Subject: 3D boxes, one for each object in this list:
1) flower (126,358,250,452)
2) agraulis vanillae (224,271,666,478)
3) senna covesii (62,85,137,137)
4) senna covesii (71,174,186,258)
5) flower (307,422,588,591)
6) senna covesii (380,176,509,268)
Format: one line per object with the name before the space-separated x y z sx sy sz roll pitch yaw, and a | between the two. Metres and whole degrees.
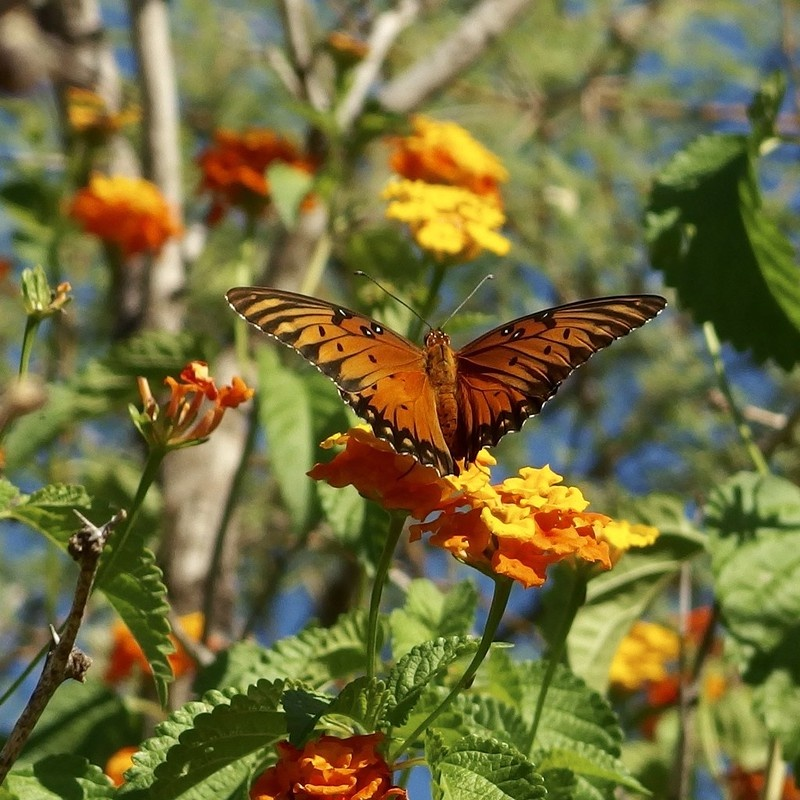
flower | -0.335 -0.007 2.316 0.159 0.168 0.077 19 52 -54
agraulis vanillae | 0.067 -0.045 2.470 0.603 0.153 0.297 -1 61 -4
senna covesii | -0.526 -0.508 2.865 0.127 0.082 0.050 -14 48 -20
senna covesii | -0.484 -0.319 2.880 0.154 0.060 0.132 35 59 23
flower | 0.072 0.144 2.229 0.273 0.079 0.278 27 12 29
senna covesii | 0.080 -0.300 2.715 0.170 0.051 0.159 19 15 -16
